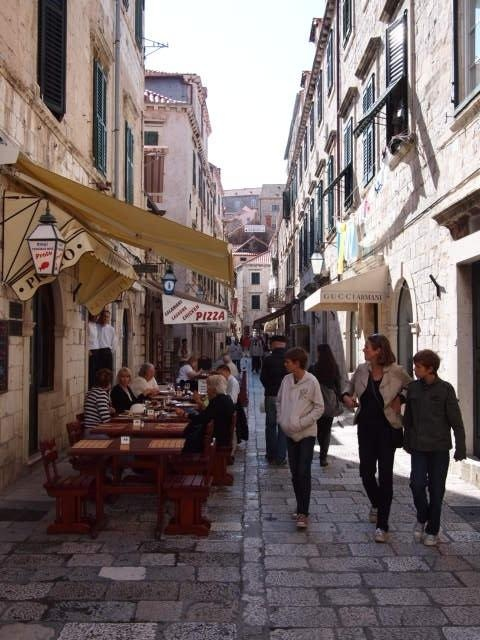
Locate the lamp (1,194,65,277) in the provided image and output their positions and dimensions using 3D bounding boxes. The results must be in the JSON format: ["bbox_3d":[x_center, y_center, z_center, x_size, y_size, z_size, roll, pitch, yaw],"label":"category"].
[{"bbox_3d":[-1.978,-0.783,6.123,0.567,0.907,0.615,1,-3,-24],"label":"lamp"}]

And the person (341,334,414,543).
[{"bbox_3d":[1.096,0.902,5.202,0.461,1.554,0.472,-2,-3,39],"label":"person"}]

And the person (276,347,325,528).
[{"bbox_3d":[0.549,0.973,5.593,0.357,1.460,0.600,1,-2,-10],"label":"person"}]

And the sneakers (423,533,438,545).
[{"bbox_3d":[1.444,1.627,4.855,0.115,0.079,0.166,-1,-3,19],"label":"sneakers"}]

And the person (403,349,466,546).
[{"bbox_3d":[1.491,0.951,4.961,0.459,1.441,0.346,-1,-2,23],"label":"person"}]

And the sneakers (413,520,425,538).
[{"bbox_3d":[1.392,1.600,4.982,0.046,0.133,0.171,-1,-32,8],"label":"sneakers"}]

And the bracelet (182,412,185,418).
[{"bbox_3d":[-0.603,1.002,6.913,0.037,0.045,0.052,1,-7,-2],"label":"bracelet"}]

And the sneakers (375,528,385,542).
[{"bbox_3d":[1.082,1.625,4.933,0.095,0.088,0.143,0,-3,13],"label":"sneakers"}]
